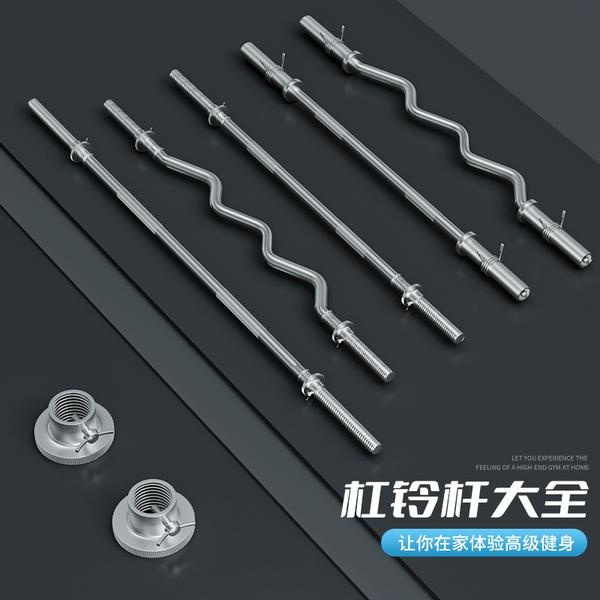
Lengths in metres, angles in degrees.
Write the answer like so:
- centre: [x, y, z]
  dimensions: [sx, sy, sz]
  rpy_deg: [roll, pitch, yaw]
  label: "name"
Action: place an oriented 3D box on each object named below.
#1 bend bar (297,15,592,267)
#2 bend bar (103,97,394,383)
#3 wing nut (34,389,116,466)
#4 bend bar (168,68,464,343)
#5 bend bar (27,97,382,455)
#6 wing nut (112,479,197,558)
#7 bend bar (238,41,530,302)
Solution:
- centre: [0.523, -0.526, 2.940]
  dimensions: [0.142, 0.184, 1.287]
  rpy_deg: [-29, 65, -33]
  label: "bend bar"
- centre: [-0.177, -0.146, 2.625]
  dimensions: [0.088, 0.132, 1.200]
  rpy_deg: [-41, 74, -13]
  label: "bend bar"
- centre: [-0.621, 0.343, 2.161]
  dimensions: [0.202, 0.112, 0.209]
  rpy_deg: [-21, 43, -37]
  label: "wing nut"
- centre: [0.052, -0.267, 2.723]
  dimensions: [1.314, 0.102, 0.092]
  rpy_deg: [42, 48, 2]
  label: "bend bar"
- centre: [-0.312, -0.026, 2.527]
  dimensions: [1.486, 0.104, 0.118]
  rpy_deg: [43, 43, 14]
  label: "bend bar"
- centre: [-0.368, 0.554, 1.990]
  dimensions: [0.190, 0.098, 0.193]
  rpy_deg: [-30, 53, -28]
  label: "wing nut"
- centre: [0.292, -0.397, 2.829]
  dimensions: [1.267, 0.170, 0.123]
  rpy_deg: [46, 37, 17]
  label: "bend bar"
